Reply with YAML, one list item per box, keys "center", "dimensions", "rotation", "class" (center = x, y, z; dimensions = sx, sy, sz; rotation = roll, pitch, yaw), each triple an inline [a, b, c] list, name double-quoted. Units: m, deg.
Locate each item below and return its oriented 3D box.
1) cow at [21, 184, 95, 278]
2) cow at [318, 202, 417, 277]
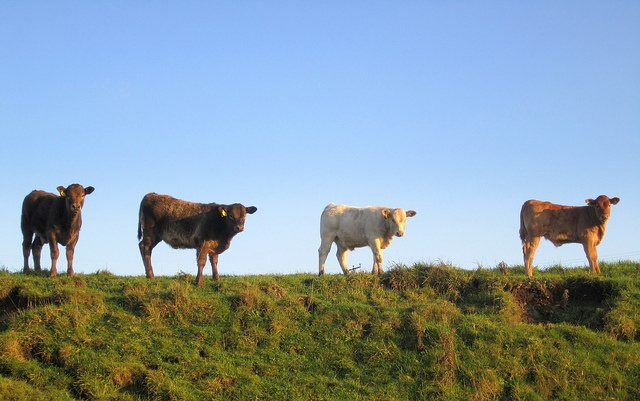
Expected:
- center: [-10.588, 1.193, 24.862]
  dimensions: [4.825, 3.704, 1.317]
  rotation: [0, 0, 43]
  class: "cow"
- center: [2.081, 1.973, 28.725]
  dimensions: [4.555, 3.462, 1.716]
  rotation: [-3, -7, 33]
  class: "cow"
